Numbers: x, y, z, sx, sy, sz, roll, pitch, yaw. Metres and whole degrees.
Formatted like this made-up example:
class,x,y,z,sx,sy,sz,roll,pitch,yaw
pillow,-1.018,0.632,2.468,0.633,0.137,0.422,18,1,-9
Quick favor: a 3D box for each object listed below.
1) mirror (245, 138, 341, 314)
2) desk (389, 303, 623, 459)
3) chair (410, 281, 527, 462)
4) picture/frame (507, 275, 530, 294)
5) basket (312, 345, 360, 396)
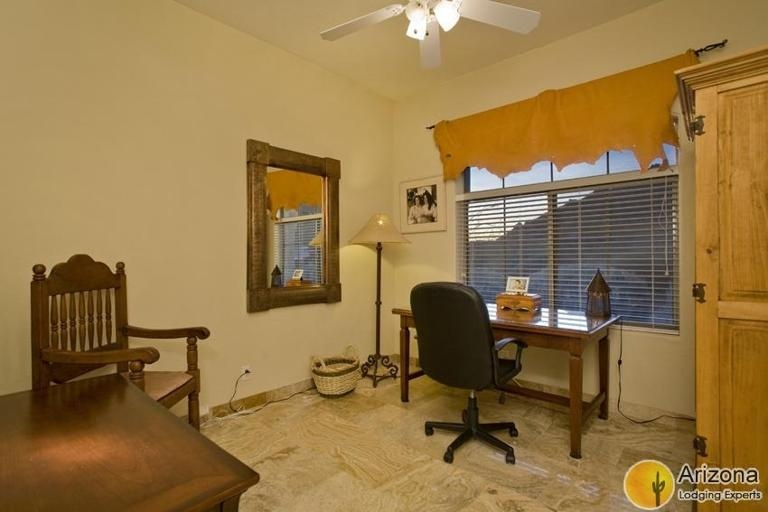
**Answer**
class,x,y,z,sx,sy,sz,roll,pitch,yaw
mirror,-0.874,-0.276,5.406,1.056,1.603,0.074,0,-1,-42
desk,1.404,0.805,4.828,1.944,1.030,1.119,1,2,42
chair,0.670,0.915,4.417,0.889,1.422,0.536,0,-1,13
picture/frame,1.247,0.266,5.057,0.013,0.151,0.174,24,-12,-36
basket,-0.450,1.177,5.484,0.327,0.347,0.454,-4,-6,30
